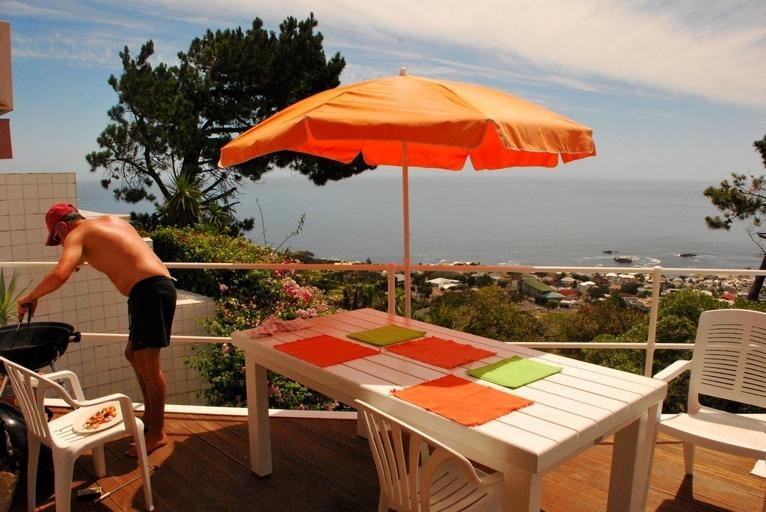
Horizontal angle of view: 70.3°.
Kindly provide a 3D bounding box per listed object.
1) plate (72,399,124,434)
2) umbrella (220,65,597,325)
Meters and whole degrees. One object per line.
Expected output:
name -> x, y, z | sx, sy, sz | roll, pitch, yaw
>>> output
plate -> -1.942, 1.098, 3.693 | 0.213, 0.032, 0.229 | -3, 18, -9
umbrella -> 0.335, -0.398, 4.177 | 2.363, 2.030, 2.079 | 5, 12, 23
